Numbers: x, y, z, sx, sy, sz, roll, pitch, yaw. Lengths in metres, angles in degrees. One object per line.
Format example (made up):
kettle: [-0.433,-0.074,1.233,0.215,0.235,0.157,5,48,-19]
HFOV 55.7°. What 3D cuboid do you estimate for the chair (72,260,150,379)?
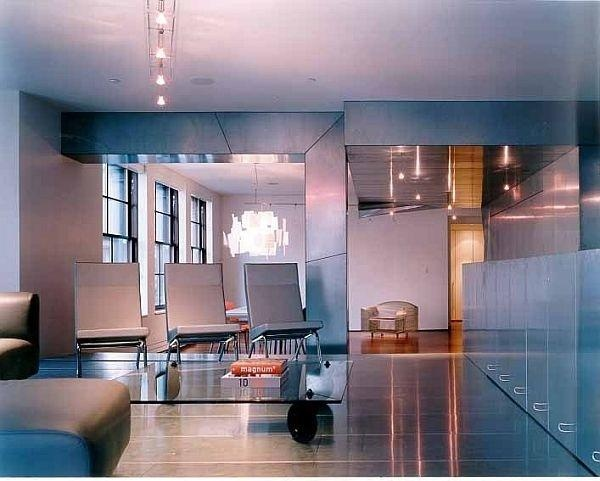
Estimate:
chair: [-2.044,0.855,6.171,1.014,1.233,1.080,-4,-7,14]

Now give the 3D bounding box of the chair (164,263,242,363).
chair: [-1.075,0.756,6.114,0.733,1.041,0.867,1,-7,-16]

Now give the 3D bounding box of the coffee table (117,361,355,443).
coffee table: [-0.455,1.180,4.416,1.697,0.574,1.550,-2,-3,4]

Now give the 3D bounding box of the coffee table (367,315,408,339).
coffee table: [1.777,1.732,11.545,0.788,0.417,0.443,-2,-3,9]

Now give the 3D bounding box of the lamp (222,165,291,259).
lamp: [-0.839,-0.586,11.506,1.672,1.914,1.021,-1,6,4]
